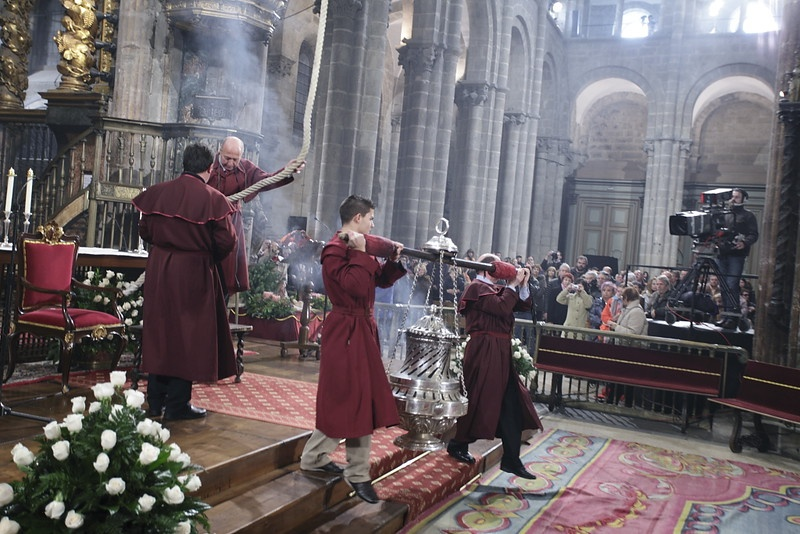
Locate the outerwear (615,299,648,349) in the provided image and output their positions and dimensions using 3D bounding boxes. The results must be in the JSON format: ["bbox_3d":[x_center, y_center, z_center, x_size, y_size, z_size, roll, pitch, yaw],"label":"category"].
[{"bbox_3d":[3.970,0.989,11.914,0.619,0.859,0.952,-1,6,5],"label":"outerwear"}]

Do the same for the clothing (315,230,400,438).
[{"bbox_3d":[-0.407,0.670,6.466,0.790,1.850,0.423,4,4,-7],"label":"clothing"}]

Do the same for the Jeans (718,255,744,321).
[{"bbox_3d":[6.208,0.297,12.972,0.492,1.370,0.354,-2,4,45],"label":"Jeans"}]

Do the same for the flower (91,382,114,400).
[{"bbox_3d":[-2.322,0.968,5.364,0.138,0.092,0.138,7,-15,-36],"label":"flower"}]

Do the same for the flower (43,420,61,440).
[{"bbox_3d":[-2.655,1.257,5.240,0.127,0.152,0.143,-9,-9,-6],"label":"flower"}]

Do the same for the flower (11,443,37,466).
[{"bbox_3d":[-2.836,1.416,5.213,0.154,0.101,0.185,-10,-1,-2],"label":"flower"}]

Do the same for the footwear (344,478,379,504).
[{"bbox_3d":[-0.384,2.129,6.525,0.407,0.162,0.150,-2,-1,43],"label":"footwear"}]

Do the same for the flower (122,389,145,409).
[{"bbox_3d":[-2.088,1.034,5.417,0.166,0.141,0.162,-2,-6,23],"label":"flower"}]

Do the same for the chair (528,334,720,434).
[{"bbox_3d":[3.468,1.556,10.765,2.771,0.562,0.454,6,10,26],"label":"chair"}]

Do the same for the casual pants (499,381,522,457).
[{"bbox_3d":[1.299,1.795,8.155,0.268,1.009,0.246,13,-17,-37],"label":"casual pants"}]

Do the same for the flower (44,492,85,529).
[{"bbox_3d":[-2.460,1.784,5.067,0.293,0.136,0.200,29,-16,31],"label":"flower"}]

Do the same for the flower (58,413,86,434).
[{"bbox_3d":[-2.486,1.191,5.208,0.159,0.152,0.123,3,4,-24],"label":"flower"}]

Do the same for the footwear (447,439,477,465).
[{"bbox_3d":[0.700,2.215,8.190,0.462,0.208,0.153,10,3,25],"label":"footwear"}]

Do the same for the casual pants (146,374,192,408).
[{"bbox_3d":[-2.367,1.267,7.045,0.322,0.445,0.269,7,8,26],"label":"casual pants"}]

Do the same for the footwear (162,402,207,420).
[{"bbox_3d":[-2.228,1.510,7.179,0.441,0.198,0.162,0,5,-40],"label":"footwear"}]

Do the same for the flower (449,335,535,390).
[{"bbox_3d":[1.648,1.387,10.378,1.153,0.496,1.117,-1,-3,34],"label":"flower"}]

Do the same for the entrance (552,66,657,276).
[{"bbox_3d":[10.298,-4.165,33.989,3.477,9.854,1.273,5,37,14],"label":"entrance"}]

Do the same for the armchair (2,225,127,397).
[{"bbox_3d":[-3.855,0.418,8.026,1.011,1.822,1.066,6,4,13],"label":"armchair"}]

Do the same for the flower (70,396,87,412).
[{"bbox_3d":[-2.507,1.078,5.378,0.075,0.156,0.251,3,4,-18],"label":"flower"}]

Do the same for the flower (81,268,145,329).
[{"bbox_3d":[-3.792,0.375,8.992,0.885,0.516,0.880,9,12,17],"label":"flower"}]
